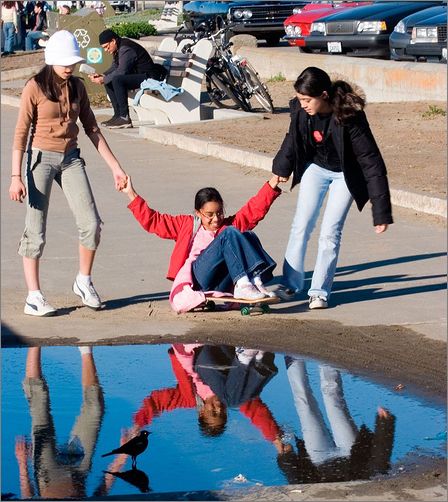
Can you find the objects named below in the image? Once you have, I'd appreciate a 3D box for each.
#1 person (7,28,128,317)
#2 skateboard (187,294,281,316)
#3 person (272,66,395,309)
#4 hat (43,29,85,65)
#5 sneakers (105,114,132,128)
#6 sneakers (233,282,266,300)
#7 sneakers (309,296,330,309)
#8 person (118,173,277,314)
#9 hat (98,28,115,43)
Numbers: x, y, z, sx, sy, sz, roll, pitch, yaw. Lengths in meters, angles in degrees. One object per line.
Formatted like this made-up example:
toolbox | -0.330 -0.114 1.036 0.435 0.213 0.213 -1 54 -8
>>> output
person | -1.132 -0.519 5.089 0.496 1.961 0.836 15 22 40
skateboard | 0.107 0.382 5.326 0.753 0.089 0.197 -1 2 21
person | 0.782 -0.412 5.305 0.825 1.742 0.809 0 16 -1
hat | -1.041 -1.331 4.849 0.339 0.184 0.245 11 14 43
sneakers | -1.891 -2.320 13.328 0.442 0.127 0.175 0 6 0
sneakers | 0.195 0.279 5.136 0.252 0.120 0.100 7 16 28
sneakers | 0.708 0.374 5.398 0.103 0.084 0.227 -3 -8 5
person | -0.138 -0.022 5.324 1.052 0.956 0.693 1 15 2
hat | -2.098 -3.854 13.207 0.345 0.223 0.213 -18 29 10
